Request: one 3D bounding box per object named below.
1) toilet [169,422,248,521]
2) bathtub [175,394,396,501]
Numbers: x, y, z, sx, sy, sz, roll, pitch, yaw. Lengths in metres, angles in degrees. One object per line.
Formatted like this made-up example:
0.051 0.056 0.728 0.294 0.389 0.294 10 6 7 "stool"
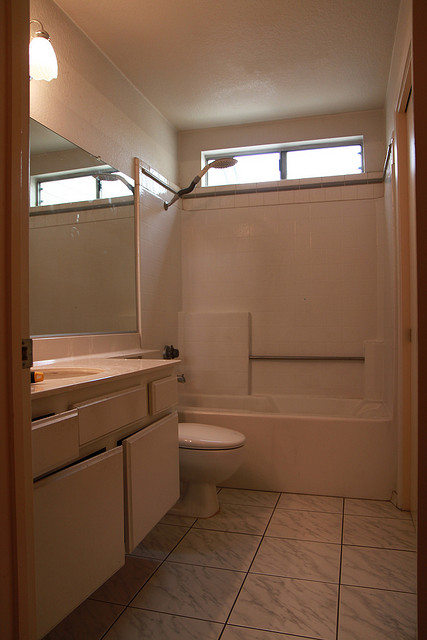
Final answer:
-0.034 0.761 2.452 0.381 0.434 0.382 -1 7 4 "toilet"
0.381 0.742 3.004 1.352 0.460 0.663 2 3 8 "bathtub"
